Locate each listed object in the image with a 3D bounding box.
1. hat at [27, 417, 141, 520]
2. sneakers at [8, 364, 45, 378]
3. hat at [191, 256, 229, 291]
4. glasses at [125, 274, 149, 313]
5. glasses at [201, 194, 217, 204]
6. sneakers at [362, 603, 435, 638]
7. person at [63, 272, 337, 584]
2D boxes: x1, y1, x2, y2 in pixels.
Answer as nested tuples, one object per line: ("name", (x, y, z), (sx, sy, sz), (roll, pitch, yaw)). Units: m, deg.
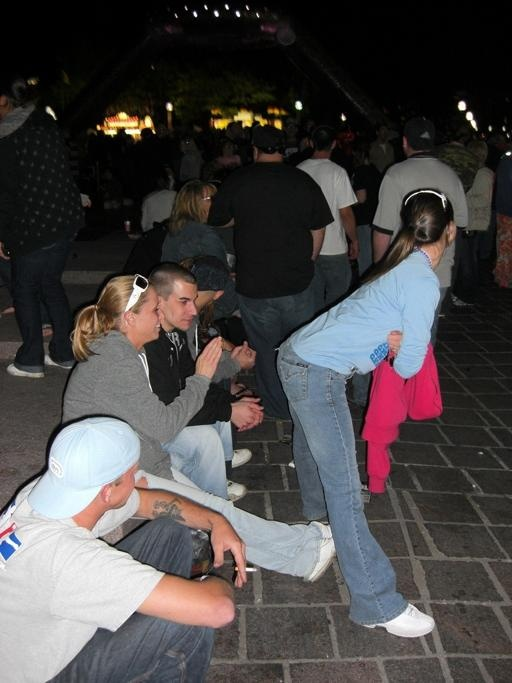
("hat", (-0.490, 0.385, 1.688), (0.211, 0.130, 0.327), (29, 46, 23))
("sneakers", (-1.849, 0.245, 4.531), (0.274, 0.108, 0.110), (12, 17, 2))
("hat", (-0.293, -0.417, 3.557), (0.198, 0.187, 0.243), (2, 38, -14))
("glasses", (-0.523, -0.213, 2.476), (0.050, 0.155, 0.116), (22, 40, -20))
("glasses", (-0.360, -1.110, 4.369), (0.123, 0.111, 0.035), (-5, 31, -29))
("sneakers", (0.617, 1.142, 2.337), (0.333, 0.127, 0.111), (-2, 3, 13))
("person", (-0.485, 0.313, 3.215), (1.075, 1.499, 0.668), (8, 15, -8))
